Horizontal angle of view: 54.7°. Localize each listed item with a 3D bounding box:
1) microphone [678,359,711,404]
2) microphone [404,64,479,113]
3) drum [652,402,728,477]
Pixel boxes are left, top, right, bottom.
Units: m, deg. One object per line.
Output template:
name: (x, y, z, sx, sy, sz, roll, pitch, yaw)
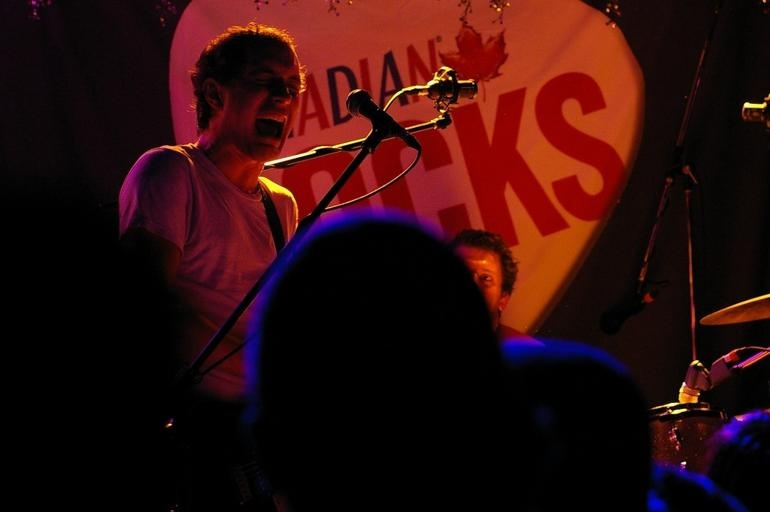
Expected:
microphone: (1.746, 0.721, 4.217, 0.163, 0.243, 0.204, 2, -5, 45)
microphone: (0.302, -0.849, 3.767, 0.366, 0.249, 0.172, -6, 10, -21)
drum: (1.529, 0.933, 3.721, 0.415, 0.334, 0.379, 9, -14, -43)
